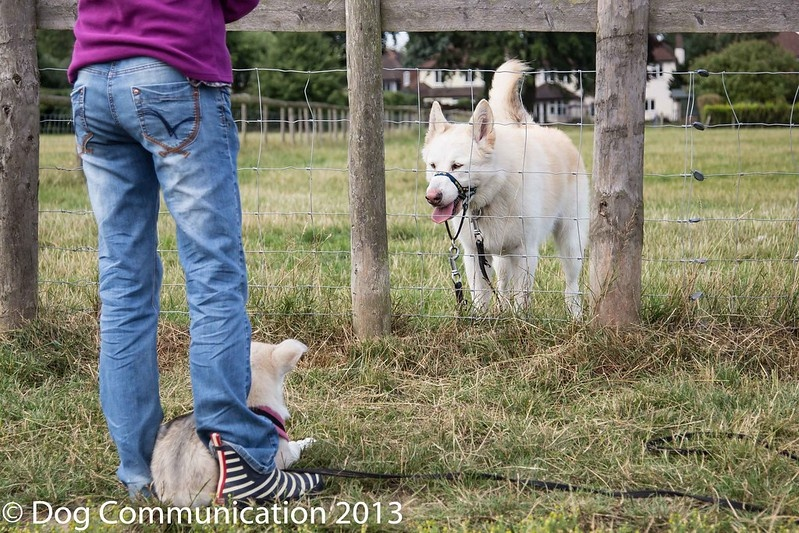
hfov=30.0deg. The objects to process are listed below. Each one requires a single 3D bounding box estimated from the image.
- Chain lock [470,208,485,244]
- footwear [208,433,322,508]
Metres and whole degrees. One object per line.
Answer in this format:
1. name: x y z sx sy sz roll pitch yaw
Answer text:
1. Chain lock: 0.767 -0.374 14.861 0.075 0.512 0.147 -4 2 9
2. footwear: -1.195 1.733 13.086 0.898 0.707 0.438 -5 8 -21
